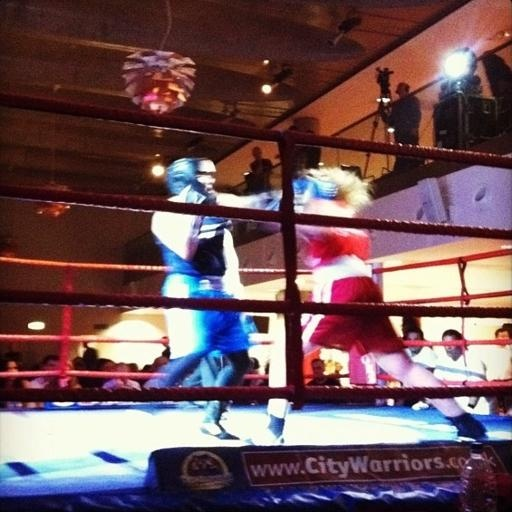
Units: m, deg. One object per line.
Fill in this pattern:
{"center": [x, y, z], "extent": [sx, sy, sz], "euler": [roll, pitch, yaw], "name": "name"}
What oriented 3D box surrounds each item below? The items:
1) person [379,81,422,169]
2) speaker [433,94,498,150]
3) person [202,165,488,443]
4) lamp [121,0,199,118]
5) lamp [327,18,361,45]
{"center": [1.718, -1.543, 6.860], "extent": [0.336, 1.190, 0.774], "euler": [6, -3, -2], "name": "person"}
{"center": [1.989, -1.271, 5.610], "extent": [0.237, 0.532, 0.618], "euler": [8, -4, -32], "name": "speaker"}
{"center": [0.356, 0.138, 2.458], "extent": [0.691, 1.091, 1.005], "euler": [7, -3, -33], "name": "person"}
{"center": [-0.630, -1.112, 3.794], "extent": [0.460, 0.450, 0.407], "euler": [5, -2, -12], "name": "lamp"}
{"center": [1.080, -2.757, 7.218], "extent": [0.207, 0.077, 0.567], "euler": [27, -12, -6], "name": "lamp"}
